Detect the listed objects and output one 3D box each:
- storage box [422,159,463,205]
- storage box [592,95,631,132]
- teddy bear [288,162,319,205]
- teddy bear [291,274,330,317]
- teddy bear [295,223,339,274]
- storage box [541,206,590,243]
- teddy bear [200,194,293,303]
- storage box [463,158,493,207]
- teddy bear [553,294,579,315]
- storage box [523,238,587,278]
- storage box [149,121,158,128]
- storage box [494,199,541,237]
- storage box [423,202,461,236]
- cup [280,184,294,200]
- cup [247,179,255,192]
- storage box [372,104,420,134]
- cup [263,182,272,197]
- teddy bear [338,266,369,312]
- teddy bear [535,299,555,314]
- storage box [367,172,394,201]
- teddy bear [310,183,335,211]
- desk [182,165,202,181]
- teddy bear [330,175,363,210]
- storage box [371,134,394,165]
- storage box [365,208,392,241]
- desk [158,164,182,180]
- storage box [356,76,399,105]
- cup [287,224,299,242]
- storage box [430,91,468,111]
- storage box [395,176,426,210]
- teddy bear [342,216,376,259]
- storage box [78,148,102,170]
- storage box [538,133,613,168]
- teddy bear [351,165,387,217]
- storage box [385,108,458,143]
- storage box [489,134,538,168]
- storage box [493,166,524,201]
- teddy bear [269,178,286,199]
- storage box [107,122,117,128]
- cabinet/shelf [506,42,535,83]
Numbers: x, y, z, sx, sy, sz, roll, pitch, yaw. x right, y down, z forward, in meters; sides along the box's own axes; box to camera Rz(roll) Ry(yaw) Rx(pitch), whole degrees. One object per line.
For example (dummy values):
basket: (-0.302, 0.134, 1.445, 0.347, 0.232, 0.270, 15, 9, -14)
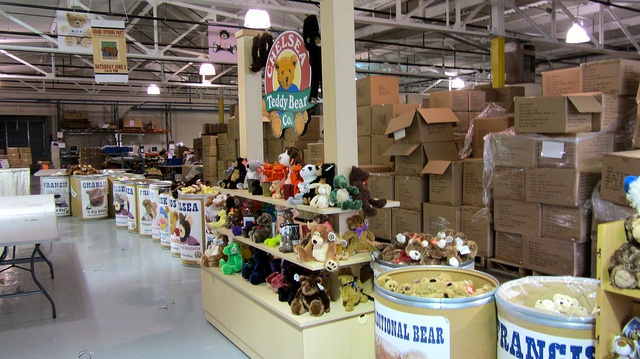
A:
storage box: (2.180, 0.046, 7.554, 0.764, 0.708, 0.770, 1, 2, 34)
storage box: (4.265, -0.981, 6.450, 0.561, 0.357, 0.295, -4, 5, -29)
teddy bear: (-0.222, 0.043, 5.398, 0.359, 0.482, 0.399, 10, 12, 24)
teddy bear: (-0.115, 1.369, 5.225, 0.495, 0.440, 0.358, 0, 0, 17)
teddy bear: (-0.023, 0.815, 5.183, 0.652, 0.547, 0.405, 6, 6, 43)
storage box: (3.579, 0.638, 6.408, 0.542, 0.401, 0.534, 6, 6, 40)
teddy bear: (-0.853, 0.670, 5.443, 1.875, 0.410, 1.039, 19, 25, 40)
storage box: (2.528, 0.065, 7.237, 0.339, 0.734, 0.176, 0, 9, 26)
teddy bear: (2.422, 1.215, 4.300, 0.261, 0.139, 0.207, -8, 9, -31)
storage box: (3.705, 1.178, 6.832, 1.142, 0.493, 1.106, 5, -5, -24)
storage box: (-8.181, -2.720, 21.707, 0.395, 0.508, 0.370, -1, -3, -35)
storage box: (3.058, 0.583, 6.784, 0.543, 0.361, 0.528, 3, 3, 44)
storage box: (2.148, 0.693, 7.512, 0.659, 0.575, 0.371, 3, 5, 43)
cup: (-0.403, 0.160, 5.571, 0.186, 0.156, 0.158, 0, 2, 19)
cup: (-0.960, 0.084, 6.006, 0.154, 0.191, 0.167, 1, 1, 0)
storage box: (1.598, -1.196, 8.464, 1.200, 0.580, 1.184, -5, 10, 11)
cup: (-0.702, 0.127, 5.820, 0.165, 0.164, 0.166, 2, 1, 0)
teddy bear: (0.364, 1.299, 5.276, 0.271, 0.454, 0.422, -2, 1, 41)
teddy bear: (2.207, 1.231, 4.293, 0.116, 0.135, 0.148, 0, 40, 18)
storage box: (0.984, 0.192, 8.136, 0.661, 0.454, 0.635, -1, -11, 2)
teddy bear: (0.018, 0.200, 5.237, 0.292, 0.305, 0.228, -11, 15, -39)
desk: (-3.799, -0.218, 13.095, 0.609, 0.466, 0.897, 3, 5, -28)
teddy bear: (0.285, 0.145, 5.279, 0.425, 0.430, 0.387, -9, 14, -36)
storage box: (1.155, -0.560, 8.395, 0.514, 0.501, 0.526, 4, 7, 31)
storage box: (1.137, 0.782, 8.158, 0.587, 0.529, 0.596, 4, 4, 44)
desk: (-6.047, -0.301, 17.769, 1.350, 0.602, 1.309, 0, 0, -20)
storage box: (1.172, -1.726, 8.688, 0.721, 0.500, 0.704, -4, 7, -37)
cup: (-0.318, 0.660, 5.454, 0.181, 0.193, 0.177, -1, 8, 0)
storage box: (2.573, -1.549, 8.643, 0.558, 0.336, 0.543, -3, 5, -28)
storage box: (1.587, 0.205, 7.791, 0.559, 0.517, 0.568, 5, 8, 34)
teddy bear: (0.461, 0.715, 5.332, 0.479, 0.455, 0.272, -5, 12, -30)
storage box: (-9.551, -0.913, 18.178, 0.618, 1.092, 1.154, 1, 2, 36)
storage box: (3.702, -0.433, 6.441, 0.675, 0.409, 0.677, -4, 6, -43)
teddy bear: (0.571, 0.117, 5.306, 0.446, 0.548, 0.382, 7, 18, 20)
storage box: (1.839, -0.931, 7.831, 1.202, 0.518, 1.120, -8, -1, -19)
storage box: (2.980, -0.441, 6.731, 0.545, 0.377, 0.524, 2, 4, 21)
storage box: (3.059, 0.057, 6.904, 0.466, 0.452, 0.478, -1, 0, 42)
teddy bear: (-0.554, 0.129, 5.707, 0.223, 0.266, 0.215, 4, -5, -24)
storage box: (-9.997, -2.592, 21.119, 0.404, 0.282, 0.270, -7, 9, -25)
cabinet/shelf: (5.477, -3.244, 12.135, 0.595, 1.020, 0.799, -7, 11, -26)
